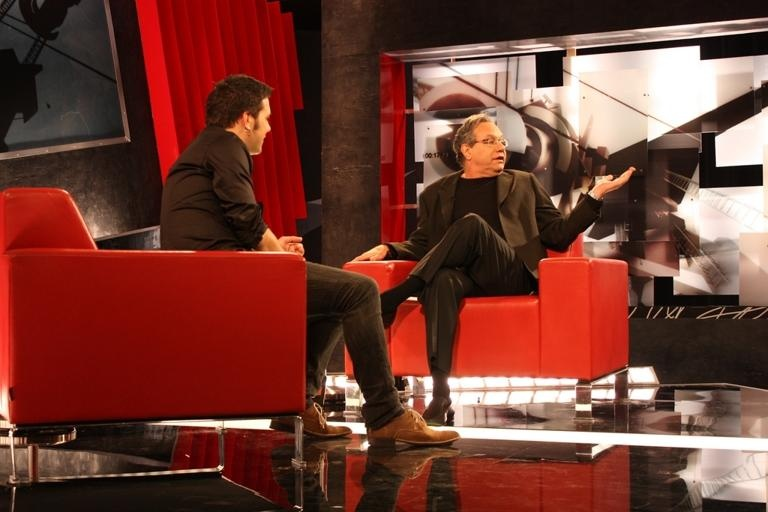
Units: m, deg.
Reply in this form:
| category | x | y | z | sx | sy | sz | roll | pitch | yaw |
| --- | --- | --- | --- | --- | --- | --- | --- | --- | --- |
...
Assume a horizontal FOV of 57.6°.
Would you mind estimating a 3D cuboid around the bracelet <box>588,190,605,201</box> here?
| category | x | y | z | sx | sy | sz | roll | pitch | yaw |
| --- | --- | --- | --- | --- | --- | --- | --- | --- | --- |
| bracelet | 1.177 | -0.340 | 3.915 | 0.055 | 0.030 | 0.072 | 23 | -3 | -8 |

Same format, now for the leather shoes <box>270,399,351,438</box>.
| category | x | y | z | sx | sy | sz | roll | pitch | yaw |
| --- | --- | --- | --- | --- | --- | --- | --- | --- | --- |
| leather shoes | -0.274 | 0.790 | 3.413 | 0.532 | 0.213 | 0.174 | 5 | -4 | -12 |

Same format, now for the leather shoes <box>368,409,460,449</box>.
| category | x | y | z | sx | sy | sz | roll | pitch | yaw |
| --- | --- | --- | --- | --- | --- | --- | --- | --- | --- |
| leather shoes | 0.135 | 0.777 | 3.164 | 0.454 | 0.174 | 0.155 | 0 | -6 | -8 |

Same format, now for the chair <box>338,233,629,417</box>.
| category | x | y | z | sx | sy | sz | roll | pitch | yaw |
| --- | --- | --- | --- | --- | --- | --- | --- | --- | --- |
| chair | 0.761 | 0.204 | 3.974 | 1.400 | 0.912 | 0.714 | -3 | -11 | 23 |

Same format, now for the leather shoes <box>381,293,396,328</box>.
| category | x | y | z | sx | sy | sz | roll | pitch | yaw |
| --- | --- | --- | --- | --- | --- | --- | --- | --- | --- |
| leather shoes | 0.024 | 0.286 | 3.685 | 0.083 | 0.192 | 0.060 | -1 | 4 | -38 |
